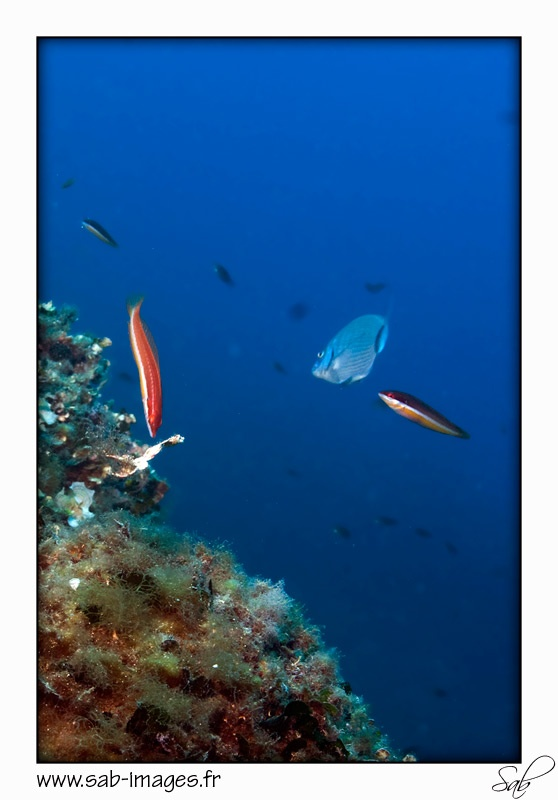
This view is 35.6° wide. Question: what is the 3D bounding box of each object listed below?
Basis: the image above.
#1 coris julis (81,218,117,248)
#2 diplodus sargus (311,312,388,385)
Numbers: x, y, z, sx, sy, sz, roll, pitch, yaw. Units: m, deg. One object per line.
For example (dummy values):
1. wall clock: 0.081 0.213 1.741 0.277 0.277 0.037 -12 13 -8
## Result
1. coris julis: -0.980 -0.914 4.721 0.218 0.084 0.030 27 35 -28
2. diplodus sargus: 0.401 -0.278 4.633 0.338 0.372 0.336 2 7 4
